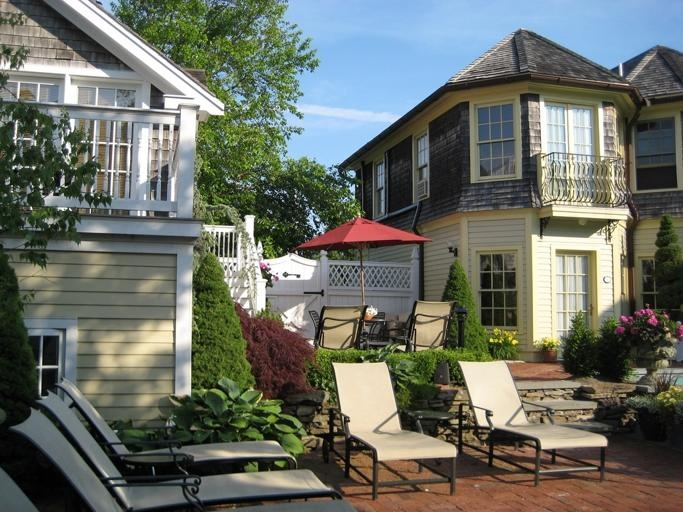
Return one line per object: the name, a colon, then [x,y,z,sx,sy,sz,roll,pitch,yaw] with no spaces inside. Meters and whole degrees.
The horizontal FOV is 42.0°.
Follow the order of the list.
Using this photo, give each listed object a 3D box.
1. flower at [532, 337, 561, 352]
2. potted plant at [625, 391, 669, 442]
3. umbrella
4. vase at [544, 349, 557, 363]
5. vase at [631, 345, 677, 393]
flower: [4.696,2.030,20.429,0.572,0.298,0.214,3,-3,16]
potted plant: [5.222,2.764,15.272,0.624,0.727,0.744,-4,-12,20]
umbrella: [0.572,-0.151,19.053,2.438,1.588,2.271,-1,3,25]
vase: [4.761,2.291,20.348,0.295,0.197,0.281,3,-14,-6]
vase: [5.692,2.121,16.715,0.854,0.843,0.858,-8,-11,42]
